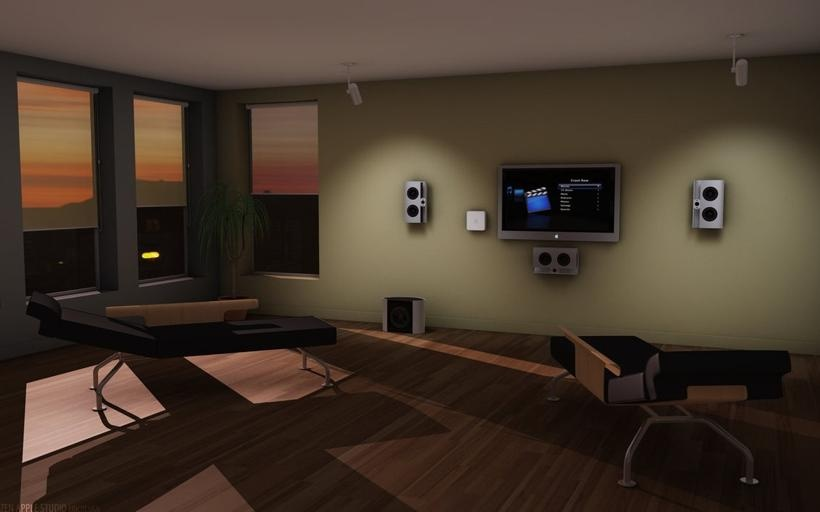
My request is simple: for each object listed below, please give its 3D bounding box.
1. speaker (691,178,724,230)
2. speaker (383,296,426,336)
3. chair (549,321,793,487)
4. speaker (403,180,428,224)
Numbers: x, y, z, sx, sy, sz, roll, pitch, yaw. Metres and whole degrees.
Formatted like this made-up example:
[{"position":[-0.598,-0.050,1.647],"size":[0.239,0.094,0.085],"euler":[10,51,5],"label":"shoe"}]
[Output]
[{"position":[3.854,-0.680,6.615],"size":[0.352,0.597,0.128],"euler":[2,12,9],"label":"speaker"},{"position":[-0.053,0.813,7.699],"size":[0.886,0.633,0.453],"euler":[0,2,18],"label":"speaker"},{"position":[2.215,1.228,4.862],"size":[1.413,0.915,2.032],"euler":[6,1,-8],"label":"chair"},{"position":[0.069,-0.820,7.664],"size":[0.335,0.581,0.127],"euler":[3,12,16],"label":"speaker"}]
